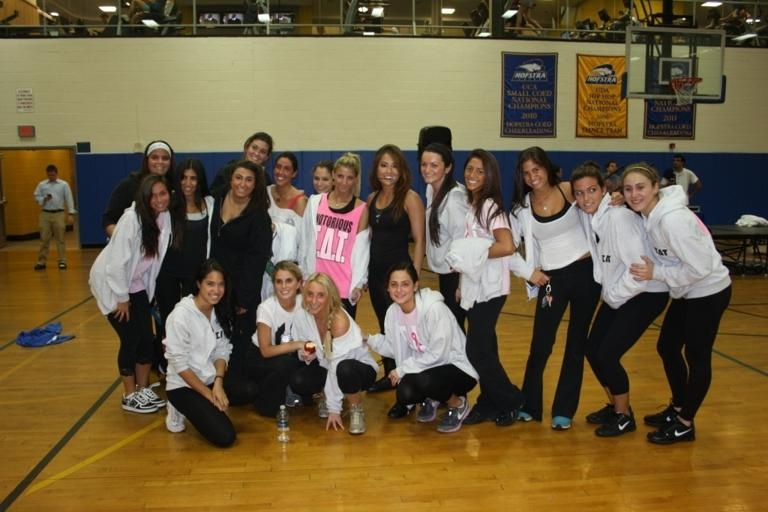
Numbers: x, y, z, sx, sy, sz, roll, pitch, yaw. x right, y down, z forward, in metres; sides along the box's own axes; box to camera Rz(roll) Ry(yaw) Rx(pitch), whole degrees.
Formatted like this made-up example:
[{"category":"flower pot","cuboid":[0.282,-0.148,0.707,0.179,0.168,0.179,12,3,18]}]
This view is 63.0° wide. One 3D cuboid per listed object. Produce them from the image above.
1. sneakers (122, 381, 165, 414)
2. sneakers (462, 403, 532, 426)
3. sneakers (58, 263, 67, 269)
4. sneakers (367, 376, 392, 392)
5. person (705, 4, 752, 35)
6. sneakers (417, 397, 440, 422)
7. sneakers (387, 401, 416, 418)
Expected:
[{"category":"sneakers","cuboid":[-2.492,1.455,6.427,0.300,0.134,0.280,0,-2,11]},{"category":"sneakers","cuboid":[1.133,1.610,6.305,0.667,0.287,0.246,-8,32,9]},{"category":"sneakers","cuboid":[-6.559,0.194,12.769,0.088,0.100,0.249,-3,-5,-17]},{"category":"sneakers","cuboid":[-0.022,1.420,6.924,0.339,0.139,0.116,1,2,-22]},{"category":"person","cuboid":[8.594,-5.903,15.538,1.512,0.703,0.282,-10,16,-32]},{"category":"sneakers","cuboid":[0.455,1.533,6.367,0.127,0.135,0.303,-8,29,28]},{"category":"sneakers","cuboid":[0.180,1.573,6.366,0.274,0.118,0.149,0,1,-33]}]
